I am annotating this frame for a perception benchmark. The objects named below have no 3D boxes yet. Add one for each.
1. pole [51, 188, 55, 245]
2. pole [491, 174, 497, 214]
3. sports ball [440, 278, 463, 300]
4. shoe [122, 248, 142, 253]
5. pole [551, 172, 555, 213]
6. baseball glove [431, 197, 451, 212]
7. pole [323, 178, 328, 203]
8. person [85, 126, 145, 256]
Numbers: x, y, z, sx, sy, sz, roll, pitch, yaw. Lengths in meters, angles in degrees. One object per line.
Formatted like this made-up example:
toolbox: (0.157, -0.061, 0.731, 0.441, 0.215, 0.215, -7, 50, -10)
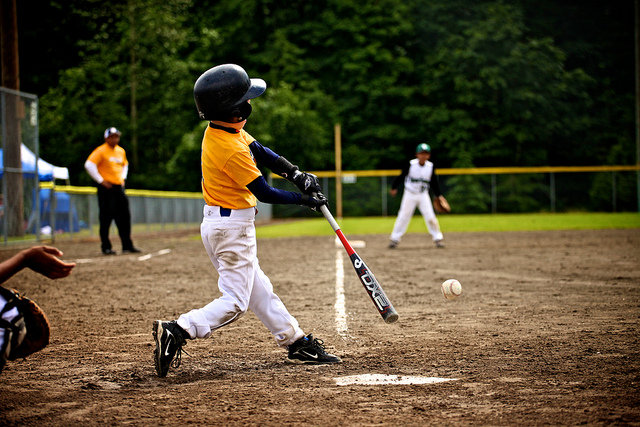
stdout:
pole: (-5.509, 0.074, 21.972, 0.084, 1.153, 0.432, -1, 2, -14)
pole: (2.822, -0.309, 17.355, 0.096, 0.620, 0.193, 0, 2, 10)
sports ball: (2.024, 1.175, 16.484, 0.306, 0.308, 0.308, -17, -3, -1)
shoe: (-3.703, 0.747, 21.003, 0.378, 0.114, 0.556, -1, 2, -10)
pole: (3.720, -0.319, 17.086, 0.049, 0.621, 0.116, 0, 2, 11)
baseball glove: (2.229, -0.078, 19.570, 0.143, 0.280, 0.395, -34, -35, 18)
pole: (0.172, -0.927, 37.318, 0.154, 0.549, 0.304, -1, 2, 8)
person: (-3.980, -0.371, 20.145, 0.708, 2.454, 1.221, -1, 2, -1)
